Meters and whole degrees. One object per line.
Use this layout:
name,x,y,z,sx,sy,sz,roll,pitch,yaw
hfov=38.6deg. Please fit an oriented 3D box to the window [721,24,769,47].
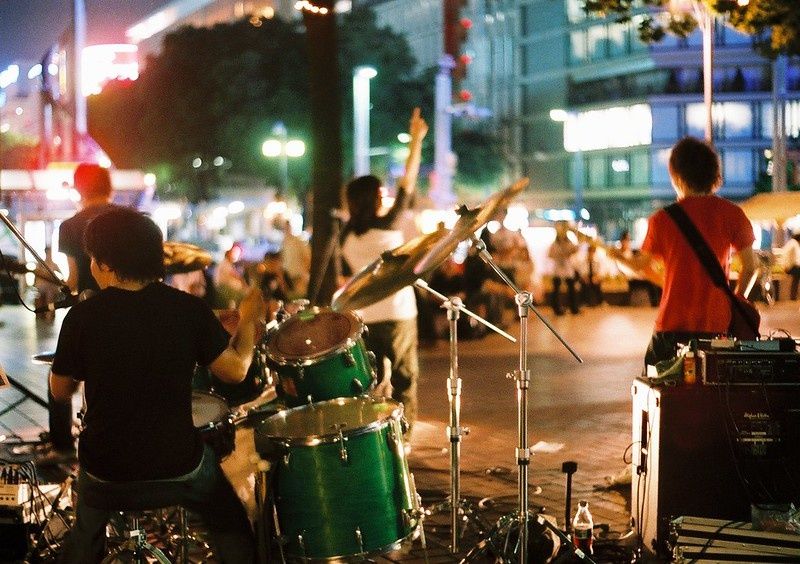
window,13.204,-9.597,45.140,0.814,0.740,1.412,-2,0,-1

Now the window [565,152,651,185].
window,9.928,-5.308,54.175,0.190,1.710,5.034,-7,8,-38

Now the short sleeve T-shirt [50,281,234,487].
short sleeve T-shirt,-1.932,0.737,8.529,1.200,1.487,0.315,-2,0,8

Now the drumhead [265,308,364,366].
drumhead,-0.731,0.530,9.981,0.777,0.195,0.778,17,40,43

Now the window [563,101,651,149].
window,9.899,-7.170,53.704,0.158,1.932,4.972,-12,9,-35

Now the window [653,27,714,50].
window,11.996,-10.299,48.886,1.799,0.703,2.732,-2,0,12
